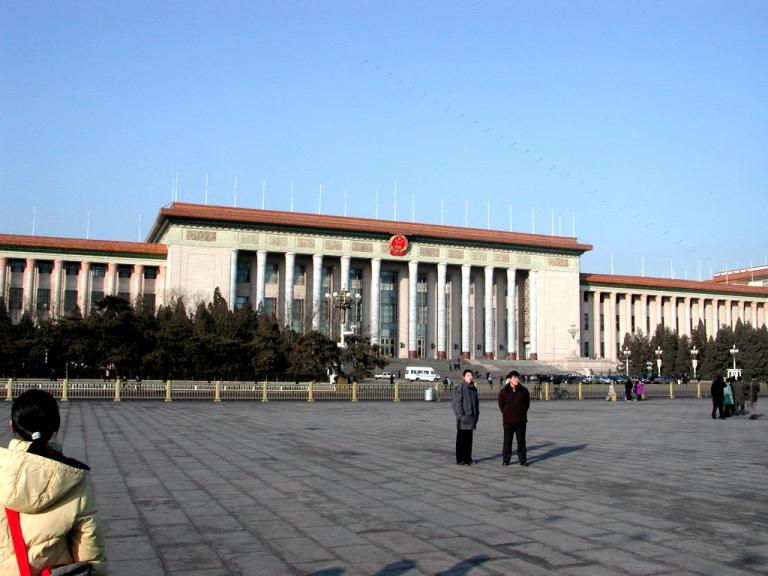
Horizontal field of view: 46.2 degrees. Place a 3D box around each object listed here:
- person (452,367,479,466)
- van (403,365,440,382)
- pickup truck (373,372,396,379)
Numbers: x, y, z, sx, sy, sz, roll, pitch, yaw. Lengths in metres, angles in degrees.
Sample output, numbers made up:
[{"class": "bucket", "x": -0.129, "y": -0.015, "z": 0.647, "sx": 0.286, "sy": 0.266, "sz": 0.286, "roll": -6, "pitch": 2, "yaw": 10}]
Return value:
[{"class": "person", "x": 1.583, "y": 2.459, "z": 17.354, "sx": 0.468, "sy": 1.785, "sz": 0.983, "roll": -1, "pitch": -6, "yaw": 4}, {"class": "van", "x": 2.794, "y": 6.410, "z": 67.551, "sx": 2.866, "sy": 1.349, "sz": 1.150, "roll": -1, "pitch": -1, "yaw": -1}, {"class": "pickup truck", "x": 0.051, "y": 6.609, "z": 68.507, "sx": 1.547, "sy": 0.486, "sz": 0.980, "roll": 4, "pitch": -9, "yaw": -13}]
